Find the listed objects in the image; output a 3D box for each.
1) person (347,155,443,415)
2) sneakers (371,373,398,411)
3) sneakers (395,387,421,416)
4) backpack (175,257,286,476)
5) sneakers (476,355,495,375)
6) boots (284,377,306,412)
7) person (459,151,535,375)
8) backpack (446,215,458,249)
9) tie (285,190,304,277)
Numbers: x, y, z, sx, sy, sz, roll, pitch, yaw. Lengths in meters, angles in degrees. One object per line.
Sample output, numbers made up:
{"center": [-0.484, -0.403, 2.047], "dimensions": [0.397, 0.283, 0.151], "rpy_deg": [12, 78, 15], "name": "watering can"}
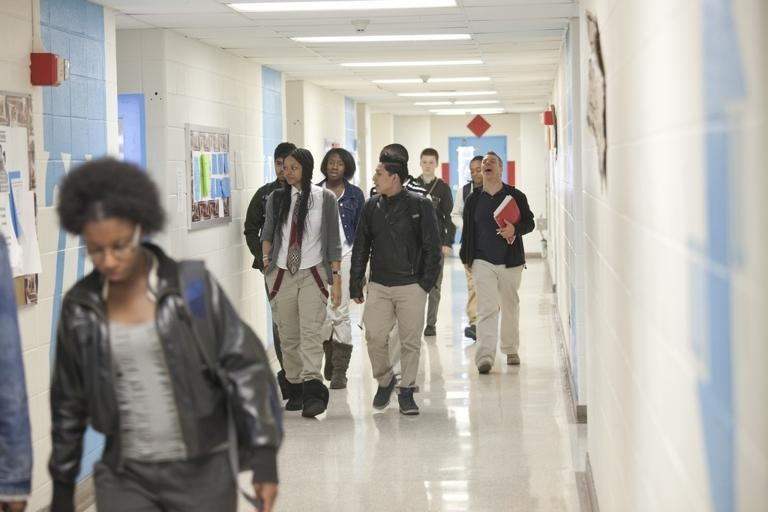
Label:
{"center": [0.102, 0.444, 5.163], "dimensions": [0.812, 2.029, 0.375], "rpy_deg": [-2, 5, -2], "name": "person"}
{"center": [-0.005, 1.307, 5.379], "dimensions": [0.146, 0.445, 0.180], "rpy_deg": [12, -28, 16], "name": "sneakers"}
{"center": [0.207, 1.327, 5.262], "dimensions": [0.129, 0.218, 0.312], "rpy_deg": [-1, -6, -8], "name": "sneakers"}
{"center": [-0.470, 0.325, 1.752], "dimensions": [0.402, 0.621, 0.196], "rpy_deg": [3, 7, 40], "name": "backpack"}
{"center": [1.102, 1.186, 6.300], "dimensions": [0.106, 0.129, 0.296], "rpy_deg": [2, -38, -2], "name": "sneakers"}
{"center": [-0.773, 1.317, 5.391], "dimensions": [0.315, 0.313, 0.143], "rpy_deg": [1, -3, -1], "name": "boots"}
{"center": [1.235, 0.088, 6.310], "dimensions": [0.705, 2.405, 0.467], "rpy_deg": [-3, 5, -14], "name": "person"}
{"center": [0.877, -0.337, 7.868], "dimensions": [0.126, 0.372, 0.282], "rpy_deg": [3, 3, -10], "name": "backpack"}
{"center": [-0.799, -0.210, 5.163], "dimensions": [0.135, 0.718, 0.211], "rpy_deg": [0, 6, 20], "name": "tie"}
